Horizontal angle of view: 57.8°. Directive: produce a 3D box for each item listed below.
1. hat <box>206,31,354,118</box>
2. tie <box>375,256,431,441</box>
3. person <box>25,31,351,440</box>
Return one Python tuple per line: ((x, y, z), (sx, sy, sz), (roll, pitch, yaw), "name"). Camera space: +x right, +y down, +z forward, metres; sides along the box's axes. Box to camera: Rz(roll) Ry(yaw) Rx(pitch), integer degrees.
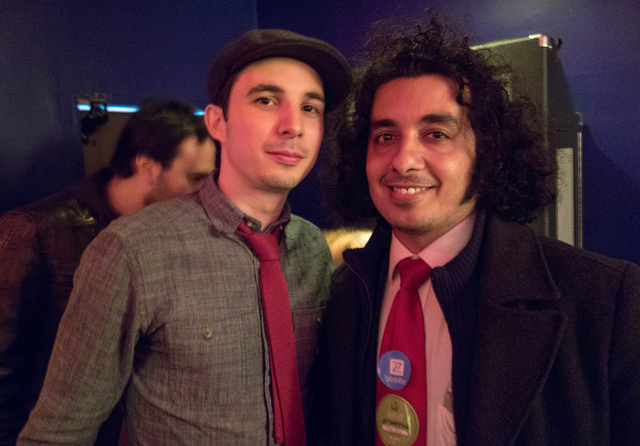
((-0.166, -0.718, 2.570), (0.463, 0.210, 0.636), (-4, -9, -6), "hat")
((0.342, 0.495, 2.352), (0.198, 0.688, 0.265), (3, 8, 6), "tie")
((-0.480, 0.032, 2.459), (1.183, 1.681, 0.596), (2, 8, -1), "person")
